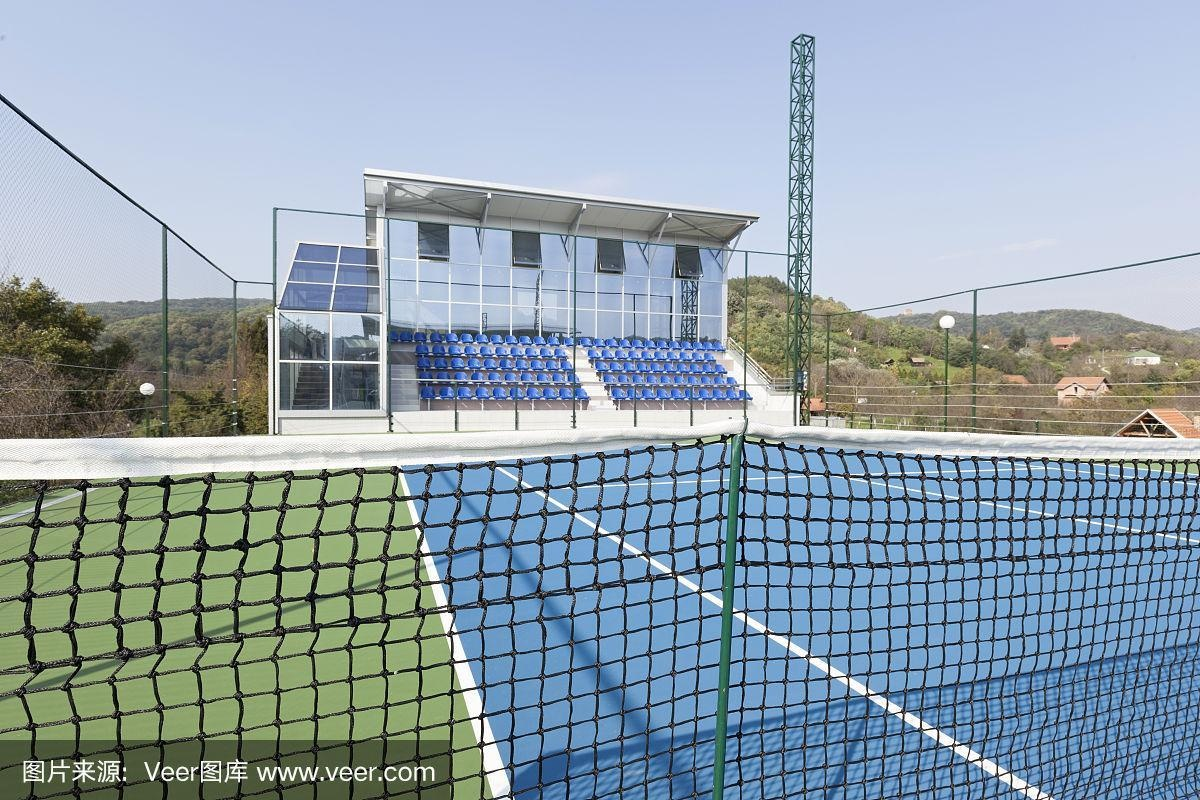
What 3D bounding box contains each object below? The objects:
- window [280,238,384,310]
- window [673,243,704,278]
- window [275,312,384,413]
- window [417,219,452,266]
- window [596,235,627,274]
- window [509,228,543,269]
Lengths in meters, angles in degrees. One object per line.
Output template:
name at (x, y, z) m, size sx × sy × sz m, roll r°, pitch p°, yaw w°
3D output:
window at (-6.038, -2.791, 24.742) m, size 2.093 × 2.153 × 2.118 m, roll 2°, pitch -9°, yaw -21°
window at (2.492, -4.008, 31.498) m, size 0.960 × 1.094 × 0.080 m, roll 3°, pitch -6°, yaw -20°
window at (-5.922, -0.788, 23.526) m, size 2.167 × 2.207 × 0.073 m, roll 0°, pitch -2°, yaw -30°
window at (-4.389, -4.122, 28.723) m, size 1.196 × 1.052 × 0.155 m, roll 5°, pitch -10°, yaw -34°
window at (0.270, -4.079, 30.726) m, size 1.069 × 1.222 × 0.430 m, roll 2°, pitch 3°, yaw -20°
window at (-2.064, -4.127, 29.844) m, size 1.015 × 1.115 × 0.090 m, roll 14°, pitch -21°, yaw -31°
